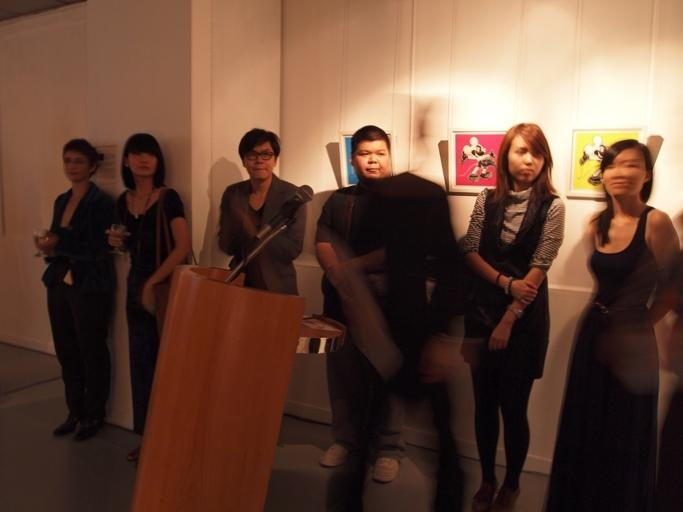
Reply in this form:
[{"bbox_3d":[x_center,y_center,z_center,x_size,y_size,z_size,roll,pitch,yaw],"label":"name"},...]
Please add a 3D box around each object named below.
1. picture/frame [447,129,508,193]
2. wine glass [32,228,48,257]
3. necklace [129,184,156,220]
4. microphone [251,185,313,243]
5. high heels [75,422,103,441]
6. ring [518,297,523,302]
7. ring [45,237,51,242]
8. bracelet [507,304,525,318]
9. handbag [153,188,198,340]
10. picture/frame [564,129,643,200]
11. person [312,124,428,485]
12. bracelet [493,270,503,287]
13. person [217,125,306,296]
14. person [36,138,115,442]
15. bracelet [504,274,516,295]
[{"bbox_3d":[0.638,-0.451,2.428,0.243,0.264,0.028,5,12,18],"label":"picture/frame"},{"bbox_3d":[-1.752,-0.073,3.060,0.110,0.158,0.049,-1,9,1],"label":"wine glass"},{"bbox_3d":[-1.159,-0.314,3.046,0.146,0.165,0.038,8,5,17],"label":"necklace"},{"bbox_3d":[-0.271,-0.203,2.508,0.342,0.095,0.112,-47,12,-10],"label":"microphone"},{"bbox_3d":[-1.506,1.040,3.158,0.061,0.067,0.160,27,40,30],"label":"high heels"},{"bbox_3d":[0.821,0.202,2.396,0.020,0.019,0.003,2,10,20],"label":"ring"},{"bbox_3d":[-1.703,-0.098,3.050,0.032,0.020,0.006,-4,10,-17],"label":"ring"},{"bbox_3d":[0.803,0.253,2.404,0.046,0.035,0.055,11,5,-10],"label":"bracelet"},{"bbox_3d":[-0.971,0.027,3.036,0.256,0.827,0.141,-4,10,-20],"label":"handbag"},{"bbox_3d":[1.130,-0.398,2.235,0.257,0.337,0.022,4,8,27],"label":"picture/frame"},{"bbox_3d":[0.060,0.223,2.719,0.402,1.753,0.242,0,9,4],"label":"person"},{"bbox_3d":[0.729,0.106,2.442,0.018,0.058,0.047,7,0,6],"label":"bracelet"},{"bbox_3d":[-0.452,-0.016,3.003,0.431,1.388,0.447,6,15,23],"label":"person"},{"bbox_3d":[-1.548,0.200,3.110,0.429,1.741,0.245,-7,11,-34],"label":"person"},{"bbox_3d":[0.774,0.134,2.419,0.024,0.070,0.060,13,9,2],"label":"bracelet"}]
